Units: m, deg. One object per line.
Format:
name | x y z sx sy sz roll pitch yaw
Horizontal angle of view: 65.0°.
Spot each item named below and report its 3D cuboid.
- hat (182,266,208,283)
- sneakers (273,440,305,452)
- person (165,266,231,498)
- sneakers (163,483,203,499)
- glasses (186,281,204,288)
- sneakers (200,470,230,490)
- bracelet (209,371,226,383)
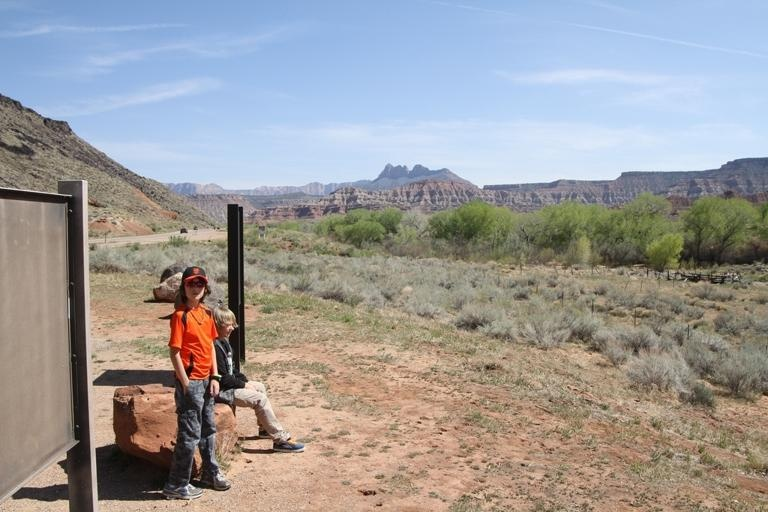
hat | -2.970 0.353 9.519 0.332 0.259 0.544 7 -11 -28
sneakers | -1.722 3.408 10.850 0.531 0.242 0.220 2 -3 -7
person | -3.027 2.019 9.523 0.857 3.622 0.393 -1 1 -23
sneakers | -3.167 3.715 9.530 0.586 0.298 0.245 1 -4 -8
glasses | -2.940 0.431 9.374 0.268 0.121 0.049 0 1 -18
sneakers | -2.742 3.628 9.769 0.566 0.287 0.221 5 5 1
bracelet | -2.710 1.942 9.718 0.229 0.106 0.263 4 -3 -3
